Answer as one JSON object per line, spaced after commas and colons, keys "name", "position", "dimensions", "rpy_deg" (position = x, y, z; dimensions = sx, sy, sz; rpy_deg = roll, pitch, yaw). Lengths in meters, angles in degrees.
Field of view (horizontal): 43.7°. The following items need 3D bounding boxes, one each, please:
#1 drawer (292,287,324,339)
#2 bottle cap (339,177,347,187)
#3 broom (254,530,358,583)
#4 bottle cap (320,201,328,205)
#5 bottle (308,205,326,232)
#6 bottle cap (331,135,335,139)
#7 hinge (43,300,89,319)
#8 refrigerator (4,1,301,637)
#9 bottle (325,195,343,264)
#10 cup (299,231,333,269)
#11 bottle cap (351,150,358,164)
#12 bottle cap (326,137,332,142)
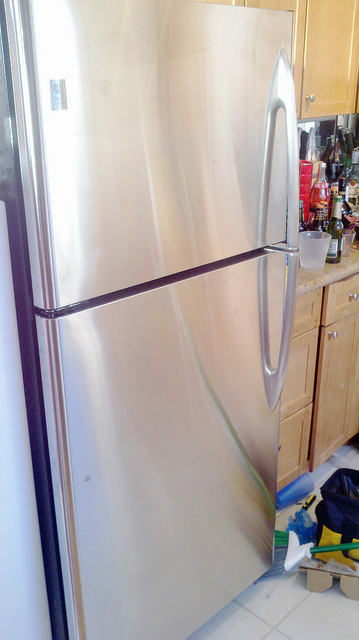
{"name": "drawer", "position": [0.437, -0.031, 1.537], "dimensions": [0.118, 0.141, 0.075], "rpy_deg": [-16, 21, -42]}
{"name": "bottle cap", "position": [0.807, -0.678, 2.204], "dimensions": [0.025, 0.045, 0.086], "rpy_deg": [9, 25, 34]}
{"name": "broom", "position": [0.425, 0.830, 1.571], "dimensions": [0.258, 0.132, 0.189], "rpy_deg": [11, 47, -13]}
{"name": "bottle cap", "position": [0.561, -0.461, 1.759], "dimensions": [0.019, 0.009, 0.021], "rpy_deg": [-1, 16, -18]}
{"name": "bottle", "position": [0.535, -0.401, 1.764], "dimensions": [0.042, 0.104, 0.089], "rpy_deg": [-10, 20, -20]}
{"name": "bottle cap", "position": [0.745, -0.887, 2.175], "dimensions": [0.015, 0.026, 0.011], "rpy_deg": [-22, 26, -35]}
{"name": "hinge", "position": [-0.179, -0.020, 0.717], "dimensions": [0.080, 0.013, 0.023], "rpy_deg": [-24, 28, -38]}
{"name": "refrigerator", "position": [0.015, 0.183, 0.981], "dimensions": [0.259, 1.513, 0.692], "rpy_deg": [12, 24, 42]}
{"name": "bottle", "position": [0.597, -0.354, 1.728], "dimensions": [0.056, 0.254, 0.114], "rpy_deg": [3, 19, 21]}
{"name": "cup", "position": [0.494, -0.255, 1.636], "dimensions": [0.120, 0.133, 0.126], "rpy_deg": [3, 20, -1]}
{"name": "bottle cap", "position": [0.858, -0.801, 2.202], "dimensions": [0.013, 0.064, 0.036], "rpy_deg": [-13, 20, -27]}
{"name": "bottle cap", "position": [0.722, -0.872, 2.165], "dimensions": [0.019, 0.024, 0.005], "rpy_deg": [-2, 7, -35]}
